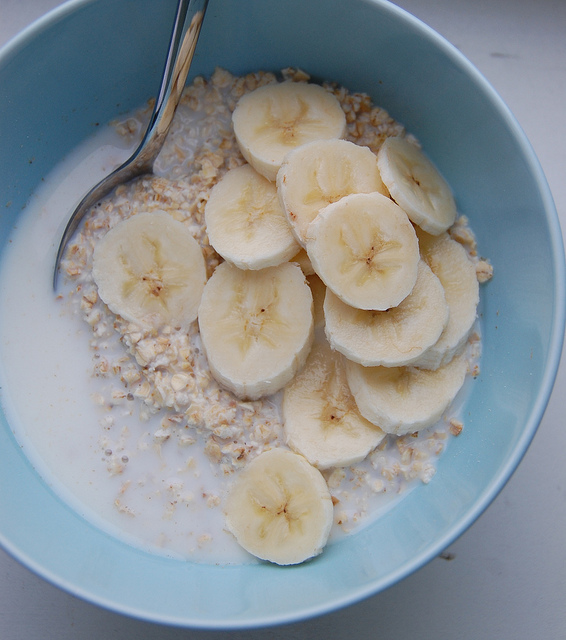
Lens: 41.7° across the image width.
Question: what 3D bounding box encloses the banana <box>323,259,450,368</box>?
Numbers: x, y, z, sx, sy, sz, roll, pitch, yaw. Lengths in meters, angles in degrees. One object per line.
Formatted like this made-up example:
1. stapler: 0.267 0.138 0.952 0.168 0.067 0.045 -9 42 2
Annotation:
1. banana: 0.203 -0.005 1.472 0.256 0.195 0.054 -5 -6 0

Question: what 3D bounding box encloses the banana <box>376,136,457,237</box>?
1. banana: 0.278 -0.275 1.460 0.053 0.199 0.231 -33 39 -18

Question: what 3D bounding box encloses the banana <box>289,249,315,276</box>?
1. banana: 0.039 -0.112 1.451 0.056 0.046 0.013 12 20 38
